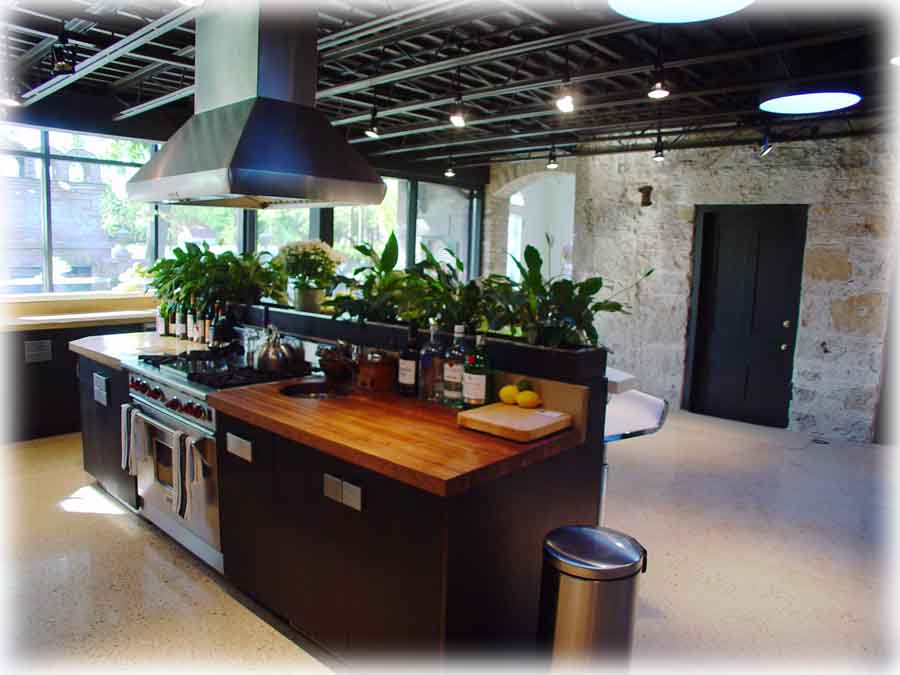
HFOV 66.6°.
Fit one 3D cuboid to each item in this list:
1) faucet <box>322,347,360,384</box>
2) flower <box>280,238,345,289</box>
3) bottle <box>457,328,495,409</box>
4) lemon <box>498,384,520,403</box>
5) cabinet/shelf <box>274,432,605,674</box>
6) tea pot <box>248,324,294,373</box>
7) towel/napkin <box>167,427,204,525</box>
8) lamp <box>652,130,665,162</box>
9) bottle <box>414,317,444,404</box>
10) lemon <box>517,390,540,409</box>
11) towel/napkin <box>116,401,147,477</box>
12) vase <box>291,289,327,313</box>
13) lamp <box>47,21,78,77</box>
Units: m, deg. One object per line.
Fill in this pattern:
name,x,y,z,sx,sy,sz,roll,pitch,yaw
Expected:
faucet,-0.646,0.164,4.113,0.281,0.206,0.130,5,7,31
flower,-0.963,-0.492,4.819,0.383,0.298,0.348,2,0,10
bottle,0.121,0.175,3.672,0.134,0.385,0.214,-1,7,-17
lemon,0.296,0.299,3.667,0.093,0.099,0.093,5,-21,-25
cabinet/shelf,-0.157,0.755,3.632,1.069,1.407,1.571,-3,5,-41
tea pot,-1.131,0.093,4.302,0.214,0.314,0.329,8,-12,-22
towel/napkin,-1.550,0.824,4.046,0.128,0.545,0.271,-4,9,-40
lamp,2.267,-2.074,7.447,0.121,0.316,0.584,3,6,16
bottle,-0.112,0.127,3.827,0.140,0.439,0.168,1,7,-3
lemon,0.403,0.325,3.557,0.109,0.077,0.080,2,-6,0
towel/napkin,-2.069,0.654,4.389,0.113,0.422,0.340,9,-5,-43
vase,-0.980,-0.257,4.779,0.193,0.132,0.185,2,6,2
lamp,-2.921,-2.153,5.191,0.143,0.393,0.295,-2,7,-25
